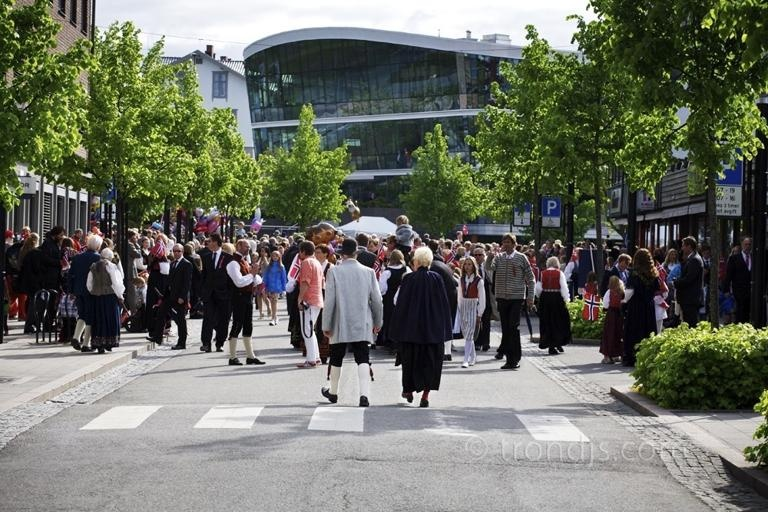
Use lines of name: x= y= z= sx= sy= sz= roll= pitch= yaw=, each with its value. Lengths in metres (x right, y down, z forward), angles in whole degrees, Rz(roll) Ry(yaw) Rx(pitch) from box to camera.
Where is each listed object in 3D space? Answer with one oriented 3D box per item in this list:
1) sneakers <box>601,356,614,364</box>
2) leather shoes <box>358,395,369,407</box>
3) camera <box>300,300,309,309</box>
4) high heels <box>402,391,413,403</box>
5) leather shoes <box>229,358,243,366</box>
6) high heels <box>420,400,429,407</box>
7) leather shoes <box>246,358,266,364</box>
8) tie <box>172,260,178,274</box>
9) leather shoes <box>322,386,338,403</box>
sneakers: x=4.713 y=2.189 z=17.463 sx=0.234 sy=0.179 sz=0.138 roll=-2 pitch=3 yaw=4
leather shoes: x=-0.294 y=2.142 z=12.246 sx=0.156 sy=0.151 sz=0.320 roll=-1 pitch=1 yaw=-1
camera: x=-1.492 y=0.919 z=15.588 sx=0.140 sy=0.143 sz=0.105 roll=5 pitch=-4 yaw=8
high heels: x=0.352 y=2.138 z=12.709 sx=0.087 sy=0.118 sz=0.265 roll=-2 pitch=9 yaw=-8
leather shoes: x=-2.993 y=2.108 z=16.485 sx=0.333 sy=0.143 sz=0.117 roll=-2 pitch=-1 yaw=19
high heels: x=0.594 y=2.180 z=12.329 sx=0.128 sy=0.103 sz=0.235 roll=-1 pitch=1 yaw=1
leather shoes: x=-2.582 y=2.111 z=16.571 sx=0.404 sy=0.175 sz=0.142 roll=-2 pitch=-1 yaw=-2
tie: x=-4.800 y=0.258 z=18.976 sx=0.137 sy=0.251 sz=0.058 roll=-5 pitch=-20 yaw=36
leather shoes: x=-0.834 y=2.112 z=12.583 sx=0.115 sy=0.143 sz=0.318 roll=-2 pitch=16 yaw=-29
